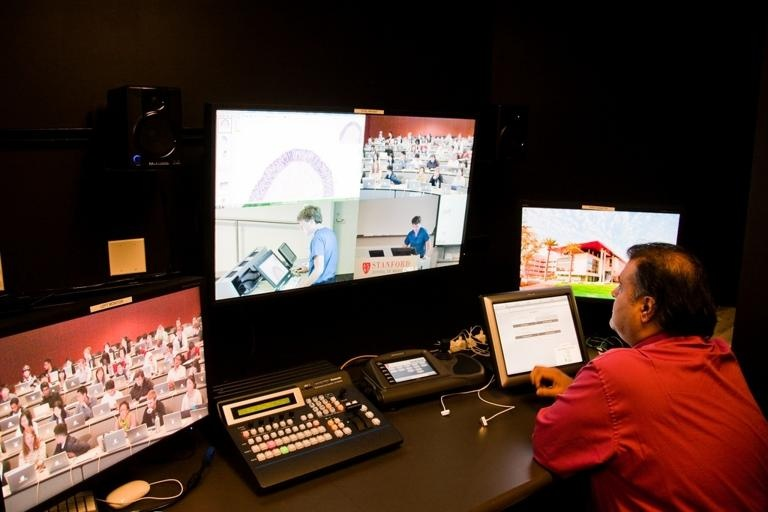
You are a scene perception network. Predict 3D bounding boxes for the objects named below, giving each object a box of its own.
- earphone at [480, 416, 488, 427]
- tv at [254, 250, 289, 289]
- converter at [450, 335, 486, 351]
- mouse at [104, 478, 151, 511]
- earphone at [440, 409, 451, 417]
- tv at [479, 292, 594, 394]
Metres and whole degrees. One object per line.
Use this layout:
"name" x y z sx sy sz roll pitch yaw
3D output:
"earphone" 0.398 0.655 2.003 0.007 0.026 0.029 -24 -10 37
"tv" -0.459 0.048 2.012 0.009 0.102 0.120 5 36 46
"converter" 0.410 0.437 2.496 0.112 0.041 0.085 -5 4 4
"mouse" -0.824 0.757 1.608 0.064 0.024 0.093 17 21 38
"earphone" 0.250 0.635 2.046 0.050 0.019 0.030 -8 8 -35
"tv" 0.650 0.385 2.185 0.381 0.313 0.144 -9 11 -16
